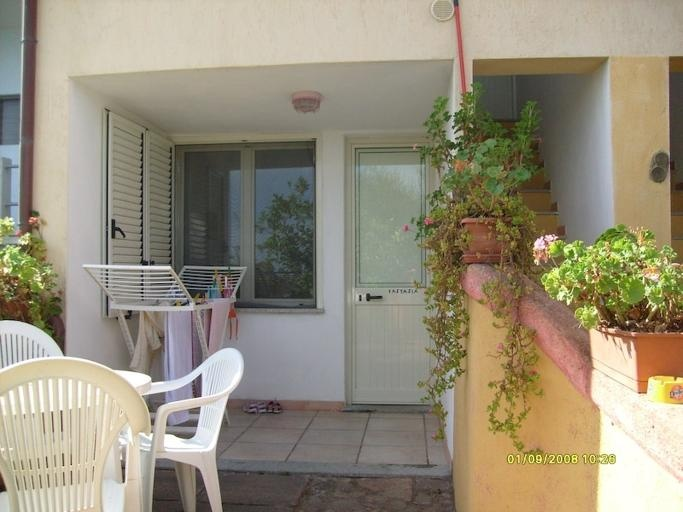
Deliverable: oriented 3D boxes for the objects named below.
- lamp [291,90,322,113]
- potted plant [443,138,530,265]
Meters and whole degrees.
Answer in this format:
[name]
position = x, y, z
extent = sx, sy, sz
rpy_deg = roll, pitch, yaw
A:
[lamp]
position = -0.261, -1.152, 5.177
extent = 0.233, 0.135, 0.291
rpy_deg = -1, 8, -5
[potted plant]
position = 0.843, -0.278, 3.905
extent = 0.512, 0.962, 0.666
rpy_deg = 1, 1, 4
